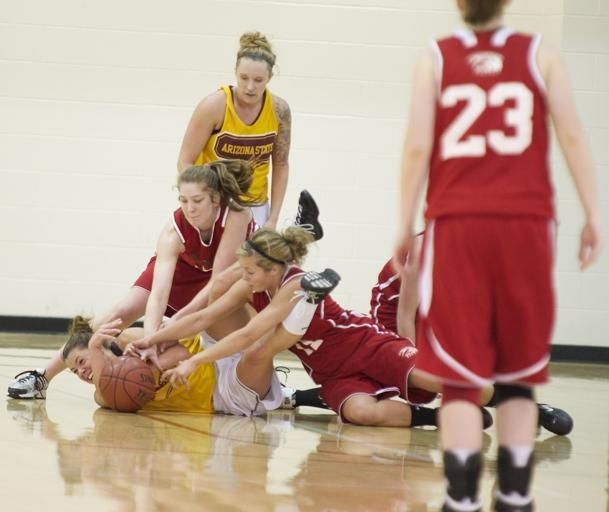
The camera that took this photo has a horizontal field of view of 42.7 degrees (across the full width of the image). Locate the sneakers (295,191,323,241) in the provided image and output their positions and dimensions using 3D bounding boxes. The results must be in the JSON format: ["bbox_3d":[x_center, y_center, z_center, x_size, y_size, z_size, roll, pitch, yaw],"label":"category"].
[{"bbox_3d":[0.021,-0.208,4.543,0.137,0.351,0.119,-10,41,3],"label":"sneakers"}]

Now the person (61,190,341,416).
[{"bbox_3d":[-0.431,0.259,3.576,1.043,0.863,0.741,-5,-7,4],"label":"person"}]

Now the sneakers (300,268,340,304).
[{"bbox_3d":[0.066,0.123,3.209,0.098,0.062,0.170,35,30,13],"label":"sneakers"}]

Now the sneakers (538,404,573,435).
[{"bbox_3d":[1.014,0.653,3.204,0.145,0.090,0.064,27,51,28],"label":"sneakers"}]

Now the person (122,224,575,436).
[{"bbox_3d":[0.209,0.393,3.523,1.839,0.859,0.812,14,-20,-8],"label":"person"}]

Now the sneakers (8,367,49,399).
[{"bbox_3d":[-1.236,0.592,3.541,0.086,0.112,0.211,0,-6,37],"label":"sneakers"}]

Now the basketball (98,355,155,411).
[{"bbox_3d":[-0.727,0.521,3.288,0.203,0.233,0.229,2,7,7],"label":"basketball"}]
